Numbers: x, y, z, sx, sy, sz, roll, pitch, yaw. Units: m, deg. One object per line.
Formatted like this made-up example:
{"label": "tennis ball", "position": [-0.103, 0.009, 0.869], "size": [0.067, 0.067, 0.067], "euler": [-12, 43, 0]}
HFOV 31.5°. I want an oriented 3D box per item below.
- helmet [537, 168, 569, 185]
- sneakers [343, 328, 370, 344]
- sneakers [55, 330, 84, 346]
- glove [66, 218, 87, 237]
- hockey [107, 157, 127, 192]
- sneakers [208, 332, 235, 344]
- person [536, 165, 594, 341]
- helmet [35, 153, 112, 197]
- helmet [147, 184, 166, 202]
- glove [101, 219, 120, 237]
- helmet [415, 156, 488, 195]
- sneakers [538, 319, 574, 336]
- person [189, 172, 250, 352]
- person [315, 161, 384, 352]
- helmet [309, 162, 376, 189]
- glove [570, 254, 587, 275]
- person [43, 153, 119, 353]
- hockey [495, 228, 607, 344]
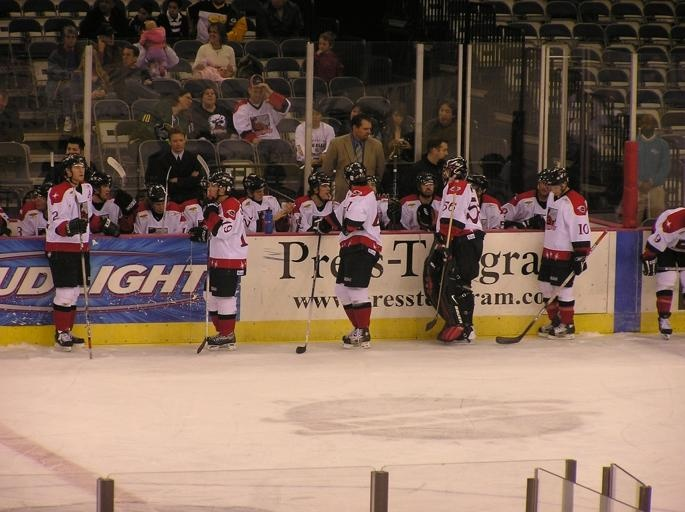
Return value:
{"label": "helmet", "position": [2.362, -0.884, 13.599], "size": [0.261, 0.241, 0.201], "euler": [19, -24, 19]}
{"label": "sneakers", "position": [0.159, 0.866, 13.273], "size": [0.267, 0.165, 0.148], "euler": [2, 12, -2]}
{"label": "sneakers", "position": [-2.866, 0.881, 12.913], "size": [0.320, 0.127, 0.114], "euler": [2, 5, 20]}
{"label": "glove", "position": [-2.768, -0.311, 12.785], "size": [0.193, 0.182, 0.195], "euler": [0, 6, -2]}
{"label": "hockey", "position": [-2.525, -0.958, 13.763], "size": [0.090, 0.277, 0.281], "euler": [-13, 55, -25]}
{"label": "sneakers", "position": [-1.291, 0.889, 13.137], "size": [0.308, 0.129, 0.111], "euler": [3, 1, -8]}
{"label": "person", "position": [2.483, -0.026, 13.587], "size": [0.611, 1.911, 0.308], "euler": [2, 6, 23]}
{"label": "helmet", "position": [-2.950, -0.901, 13.479], "size": [0.645, 0.540, 0.457], "euler": [-8, 23, 8]}
{"label": "helmet", "position": [-2.071, -0.712, 13.619], "size": [0.202, 0.188, 0.121], "euler": [-1, 6, -4]}
{"label": "glove", "position": [-2.494, -0.318, 13.063], "size": [0.274, 0.111, 0.102], "euler": [22, 54, 23]}
{"label": "helmet", "position": [1.256, -0.959, 14.136], "size": [0.660, 0.237, 0.461], "euler": [11, 5, -9]}
{"label": "sneakers", "position": [2.427, 0.810, 13.797], "size": [0.405, 0.182, 0.146], "euler": [4, 8, 10]}
{"label": "person", "position": [-1.296, 0.046, 13.041], "size": [0.562, 1.884, 0.511], "euler": [-1, 6, -4]}
{"label": "person", "position": [0.141, -0.018, 13.231], "size": [0.542, 1.974, 0.379], "euler": [0, 6, 5]}
{"label": "helmet", "position": [-0.014, -0.886, 13.356], "size": [0.574, 0.226, 0.355], "euler": [1, 10, 6]}
{"label": "glove", "position": [2.632, 0.095, 13.431], "size": [0.161, 0.203, 0.106], "euler": [-2, 6, -14]}
{"label": "person", "position": [-2.797, -0.053, 12.949], "size": [0.588, 2.046, 0.496], "euler": [-6, 8, -44]}
{"label": "hockey", "position": [2.322, 0.297, 13.691], "size": [0.218, 1.488, 0.212], "euler": [39, 3, -4]}
